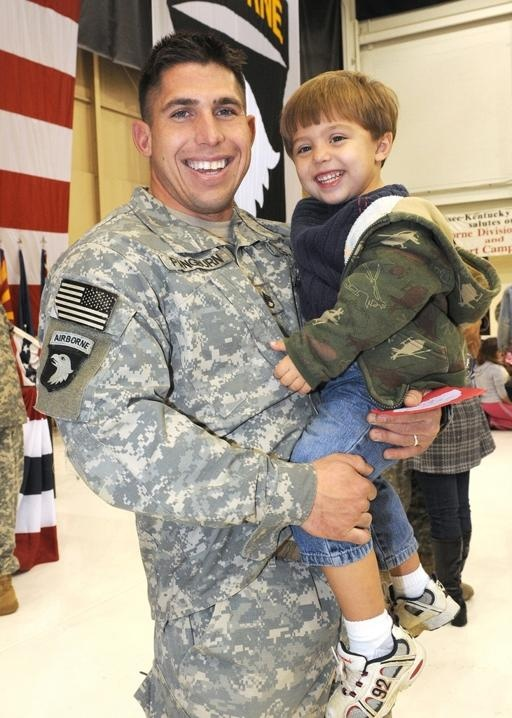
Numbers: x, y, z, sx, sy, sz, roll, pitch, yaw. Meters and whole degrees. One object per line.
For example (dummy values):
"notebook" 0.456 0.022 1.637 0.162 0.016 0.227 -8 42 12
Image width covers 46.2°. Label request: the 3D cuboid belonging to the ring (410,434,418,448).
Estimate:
"ring" 0.324 0.167 1.217 0.010 0.022 0.017 -1 19 -7
